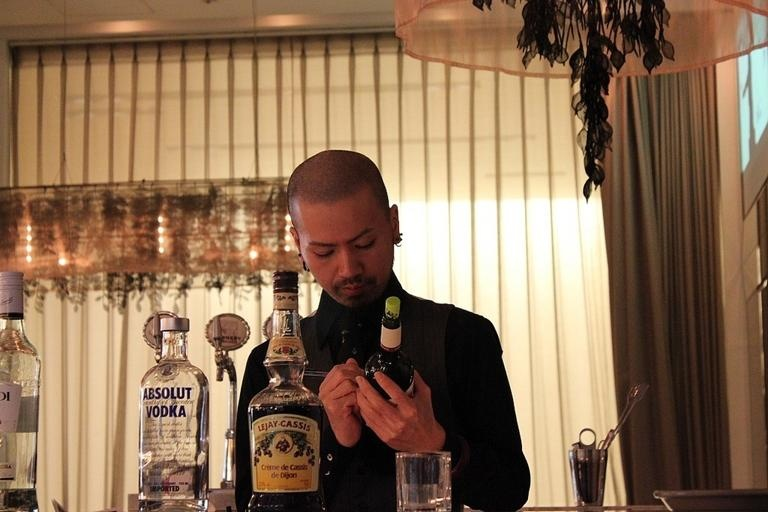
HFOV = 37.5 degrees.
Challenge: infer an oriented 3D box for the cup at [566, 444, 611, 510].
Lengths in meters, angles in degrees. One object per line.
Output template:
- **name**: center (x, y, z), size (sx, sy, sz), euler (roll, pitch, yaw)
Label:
- **cup**: center (0.915, 0.988, 5.067), size (0.157, 0.250, 0.100), euler (-5, -12, 8)

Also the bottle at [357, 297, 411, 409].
- **bottle**: center (-0.012, 0.396, 4.514), size (0.123, 0.135, 0.452), euler (-6, -43, -6)
